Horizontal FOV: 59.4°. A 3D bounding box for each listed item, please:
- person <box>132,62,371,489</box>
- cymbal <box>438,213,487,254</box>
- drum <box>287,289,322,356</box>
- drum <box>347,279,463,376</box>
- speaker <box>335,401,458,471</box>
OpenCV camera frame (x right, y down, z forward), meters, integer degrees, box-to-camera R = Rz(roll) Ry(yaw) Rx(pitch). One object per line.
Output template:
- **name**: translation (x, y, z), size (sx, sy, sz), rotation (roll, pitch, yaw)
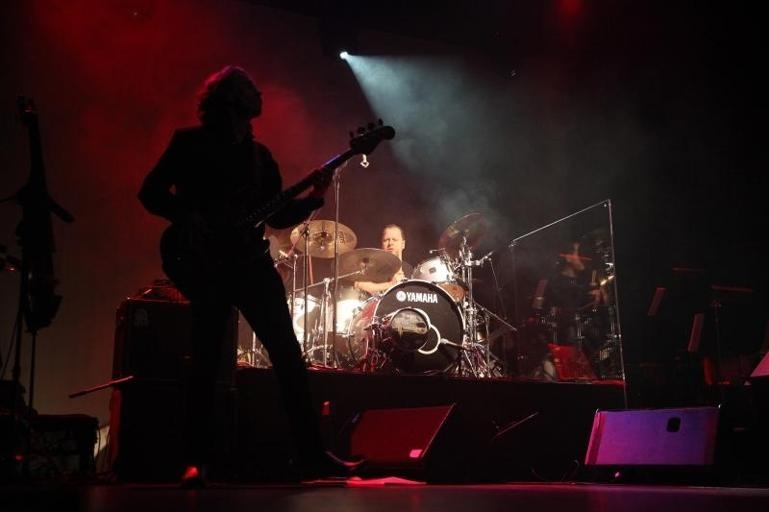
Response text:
- **person**: translation (-1.095, 0.089, 4.779), size (1.262, 2.892, 0.325), rotation (0, -8, 1)
- **cymbal**: translation (0.994, -0.257, 8.356), size (0.605, 0.518, 0.364), rotation (0, -8, -4)
- **drum**: translation (-0.985, 0.772, 7.783), size (0.577, 0.630, 0.602), rotation (-4, 1, 5)
- **drum**: translation (0.276, 0.832, 7.659), size (1.332, 1.308, 1.431), rotation (-4, -11, 23)
- **speaker**: translation (0.093, 1.461, 5.585), size (0.702, 0.528, 0.482), rotation (-12, -46, 34)
